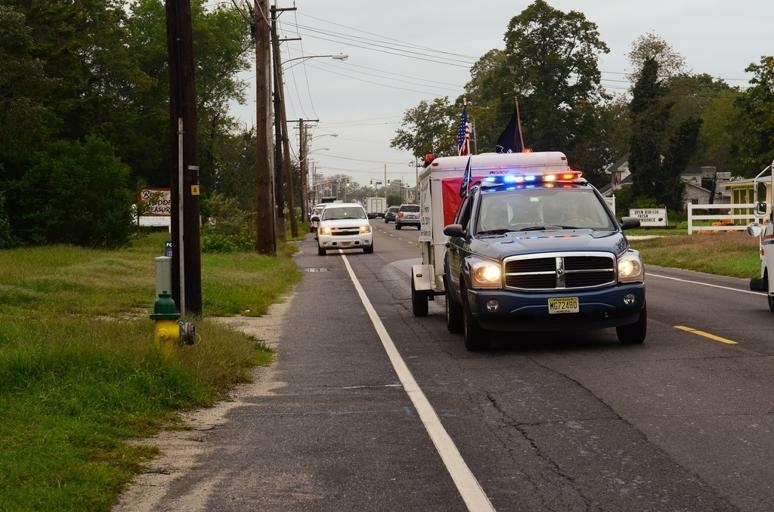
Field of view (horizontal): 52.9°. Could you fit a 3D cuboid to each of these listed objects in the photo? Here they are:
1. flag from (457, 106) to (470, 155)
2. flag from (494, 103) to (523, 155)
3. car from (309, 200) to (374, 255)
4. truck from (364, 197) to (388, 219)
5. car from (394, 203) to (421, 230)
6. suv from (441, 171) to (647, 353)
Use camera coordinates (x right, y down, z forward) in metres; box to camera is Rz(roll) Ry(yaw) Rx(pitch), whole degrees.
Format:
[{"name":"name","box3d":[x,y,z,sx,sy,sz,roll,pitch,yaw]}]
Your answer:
[{"name":"flag","box3d":[2.402,-3.958,24.384,0.476,2.170,0.365,-7,44,-3]},{"name":"flag","box3d":[3.600,-3.692,22.390,0.975,2.003,0.095,-13,50,-7]},{"name":"car","box3d":[-2.196,-1.305,38.669,2.597,2.406,2.658,0,5,-7]},{"name":"truck","box3d":[-1.510,-7.417,117.289,2.756,2.782,4.457,0,-2,-4]},{"name":"car","box3d":[1.835,-3.437,68.571,1.980,2.174,2.975,1,5,0]},{"name":"suv","box3d":[2.511,0.077,12.642,3.259,2.865,2.412,2,6,18]}]
